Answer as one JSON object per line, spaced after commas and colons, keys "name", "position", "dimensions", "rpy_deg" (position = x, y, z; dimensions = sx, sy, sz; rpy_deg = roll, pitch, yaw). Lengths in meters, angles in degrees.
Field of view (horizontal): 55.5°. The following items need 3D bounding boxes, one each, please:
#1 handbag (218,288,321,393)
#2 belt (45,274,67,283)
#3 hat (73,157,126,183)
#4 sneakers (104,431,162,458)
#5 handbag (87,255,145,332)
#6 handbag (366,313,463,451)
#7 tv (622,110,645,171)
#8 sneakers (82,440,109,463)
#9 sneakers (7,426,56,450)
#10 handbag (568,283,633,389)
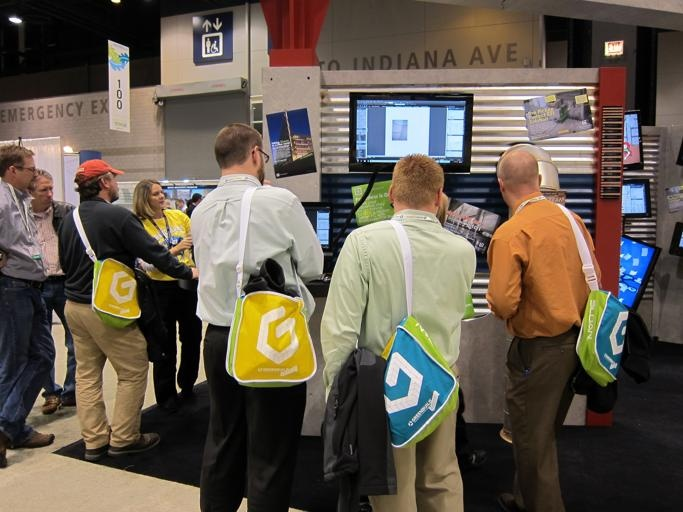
{"name": "handbag", "position": [-0.444, 0.480, 3.721], "dimensions": [0.530, 0.592, 0.218], "rpy_deg": [1, 4, -3]}
{"name": "belt", "position": [-2.494, 0.179, 5.627], "dimensions": [0.085, 0.052, 0.123], "rpy_deg": [-6, -1, 26]}
{"name": "hat", "position": [-1.846, -0.661, 4.906], "dimensions": [0.315, 0.180, 0.201], "rpy_deg": [-8, 13, -30]}
{"name": "sneakers", "position": [-1.588, 1.396, 4.948], "dimensions": [0.371, 0.187, 0.130], "rpy_deg": [-6, 9, -45]}
{"name": "handbag", "position": [-1.683, 0.273, 4.769], "dimensions": [0.259, 0.731, 0.510], "rpy_deg": [-3, -2, 37]}
{"name": "handbag", "position": [0.404, 0.643, 3.775], "dimensions": [0.589, 0.453, 0.587], "rpy_deg": [44, 8, 1]}
{"name": "tv", "position": [3.319, -1.304, 7.332], "dimensions": [0.254, 0.651, 0.186], "rpy_deg": [-1, 7, 7]}
{"name": "sneakers", "position": [-1.844, 1.472, 4.905], "dimensions": [0.073, 0.107, 0.215], "rpy_deg": [4, 4, 31]}
{"name": "sneakers", "position": [-2.403, 1.415, 5.036], "dimensions": [0.327, 0.160, 0.124], "rpy_deg": [-2, 0, -25]}
{"name": "handbag", "position": [1.633, 0.509, 4.117], "dimensions": [0.261, 0.765, 0.548], "rpy_deg": [2, -22, 40]}
